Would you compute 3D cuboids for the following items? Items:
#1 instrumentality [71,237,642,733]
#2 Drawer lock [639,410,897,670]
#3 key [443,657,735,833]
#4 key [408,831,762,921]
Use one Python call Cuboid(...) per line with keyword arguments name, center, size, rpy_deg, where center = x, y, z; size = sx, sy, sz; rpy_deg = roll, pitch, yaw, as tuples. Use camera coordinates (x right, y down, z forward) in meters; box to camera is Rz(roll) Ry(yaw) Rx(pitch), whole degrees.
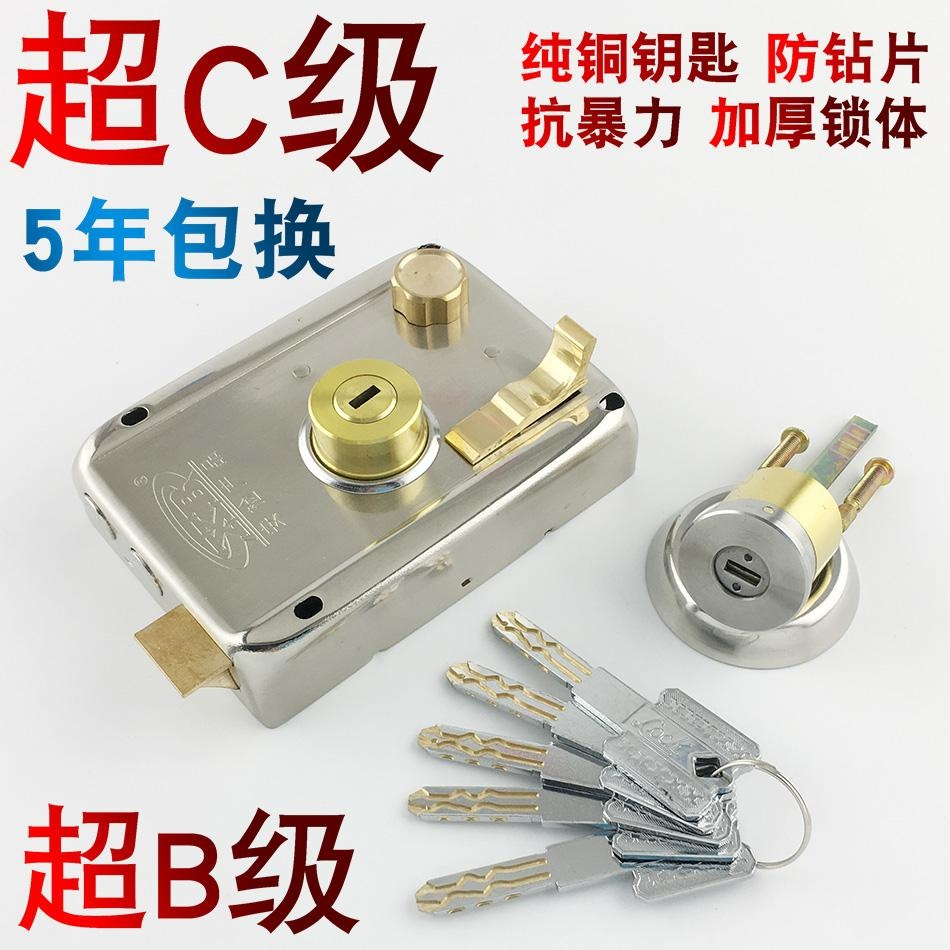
Cuboid(name="instrumentality", center=(-0.111, 0.058, 1.736), size=(0.935, 0.336, 0.603), rpy_deg=(-32, 58, -22))
Cuboid(name="Drawer lock", center=(0.486, 0.062, 1.545), size=(0.345, 0.226, 0.460), rpy_deg=(26, 50, 25))
Cuboid(name="key", center=(0.131, 0.356, 1.383), size=(0.467, 0.032, 0.118), rpy_deg=(19, 41, 32))
Cuboid(name="key", center=(0.144, 0.518, 1.292), size=(0.436, 0.106, 0.078), rpy_deg=(-1, 45, -1))
